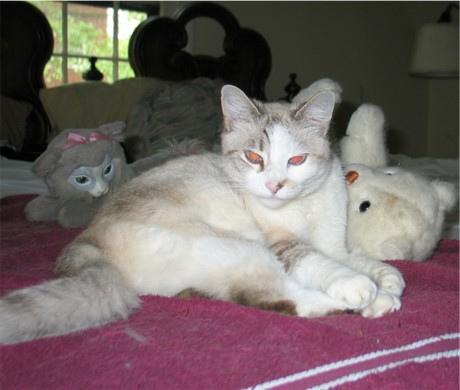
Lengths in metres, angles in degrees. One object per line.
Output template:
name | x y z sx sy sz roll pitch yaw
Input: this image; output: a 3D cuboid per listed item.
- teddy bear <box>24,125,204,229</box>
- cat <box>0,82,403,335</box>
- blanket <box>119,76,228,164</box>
teddy bear | -0.554 -0.123 2.095 0.390 0.294 0.688 3 27 18
cat | -0.026 0.081 1.281 0.710 0.533 0.707 -2 -4 23
blanket | -0.338 -0.446 2.997 0.843 0.717 0.556 11 16 37
